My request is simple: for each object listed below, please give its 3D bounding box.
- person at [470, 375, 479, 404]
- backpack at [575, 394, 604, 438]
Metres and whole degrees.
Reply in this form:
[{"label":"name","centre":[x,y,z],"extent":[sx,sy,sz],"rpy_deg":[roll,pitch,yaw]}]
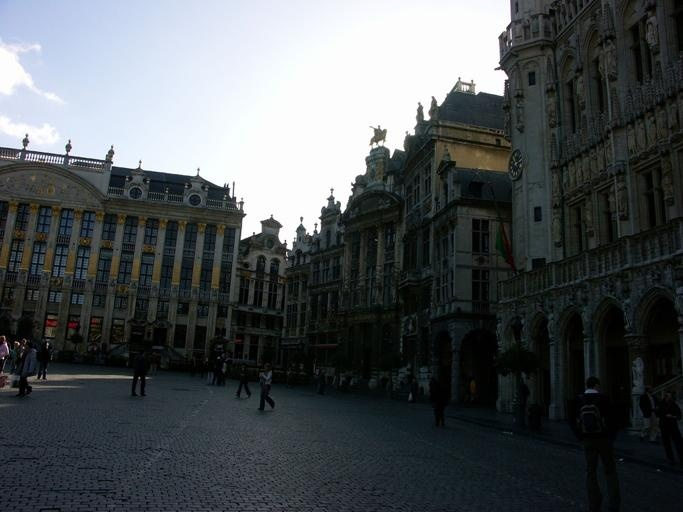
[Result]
[{"label":"person","centre":[9.743,9.780,43.180],"extent":[0.785,1.636,0.359],"rpy_deg":[13,-16,-42]},{"label":"backpack","centre":[4.969,3.237,11.730],"extent":[0.596,0.851,0.457],"rpy_deg":[-10,-33,20]}]
